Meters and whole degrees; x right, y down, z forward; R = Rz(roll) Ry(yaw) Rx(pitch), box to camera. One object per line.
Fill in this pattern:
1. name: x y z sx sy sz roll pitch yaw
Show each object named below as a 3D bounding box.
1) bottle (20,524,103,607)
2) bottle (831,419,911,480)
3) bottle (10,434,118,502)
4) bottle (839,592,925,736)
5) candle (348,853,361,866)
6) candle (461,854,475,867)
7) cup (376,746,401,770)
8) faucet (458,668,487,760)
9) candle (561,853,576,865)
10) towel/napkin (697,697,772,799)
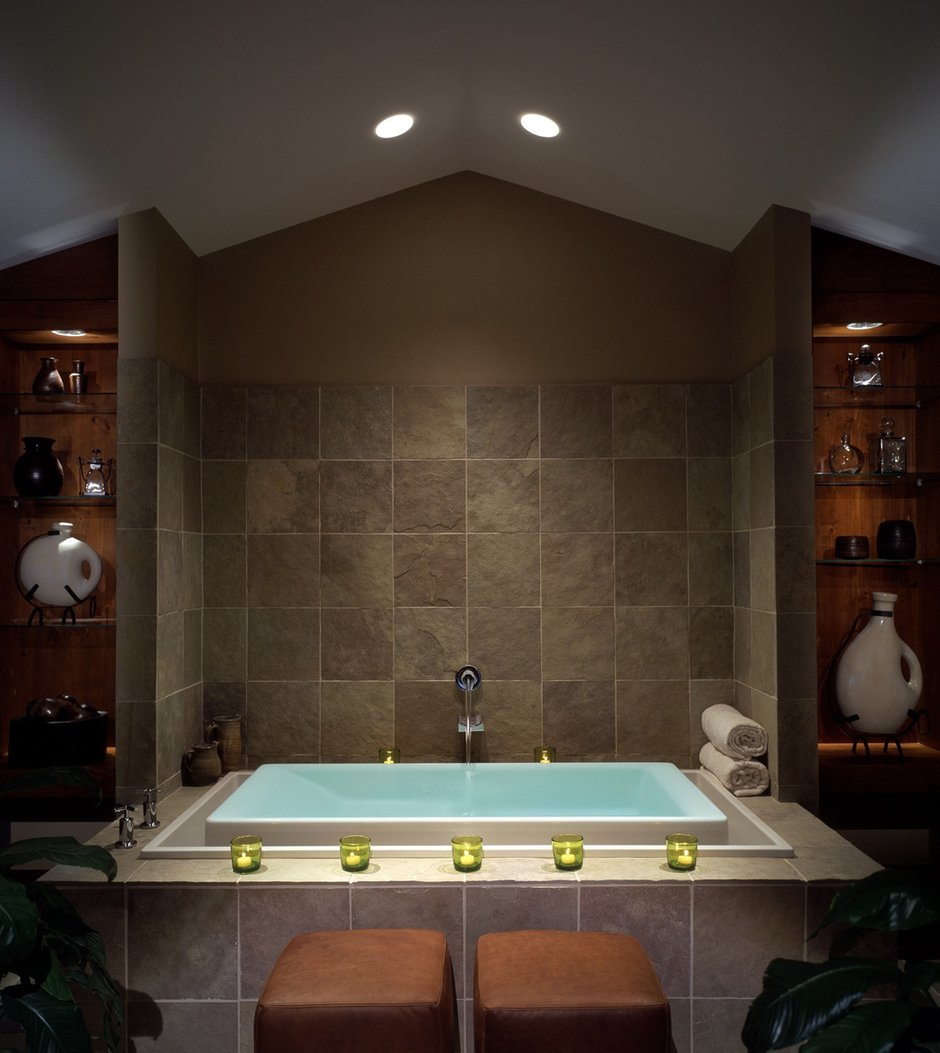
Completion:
1. bottle: -1.461 0.135 3.269 0.258 0.331 0.238 3 -3 0
2. bottle: 1.443 -0.274 3.352 0.397 0.216 0.189 -1 -2 -6
3. bottle: -1.466 -0.215 3.360 0.312 0.222 0.216 2 -5 -18
4. bottle: 1.424 0.491 3.242 0.270 0.518 0.172 -1 -2 15
5. candle: -0.308 0.881 2.445 0.025 0.029 0.027 0 1 -12
6. candle: -0.006 0.884 2.450 0.027 0.036 0.030 0 -1 5
7. cup: -0.309 0.872 3.468 0.051 0.060 0.053 1 2 0
8. faucet: -0.003 0.721 3.505 0.106 0.371 0.159 -1 -2 0
9. candle: 0.262 0.883 2.452 0.022 0.016 0.024 0 -6 -2
10. towel/napkin: 0.947 0.801 3.317 0.175 0.264 0.329 -1 -2 1
